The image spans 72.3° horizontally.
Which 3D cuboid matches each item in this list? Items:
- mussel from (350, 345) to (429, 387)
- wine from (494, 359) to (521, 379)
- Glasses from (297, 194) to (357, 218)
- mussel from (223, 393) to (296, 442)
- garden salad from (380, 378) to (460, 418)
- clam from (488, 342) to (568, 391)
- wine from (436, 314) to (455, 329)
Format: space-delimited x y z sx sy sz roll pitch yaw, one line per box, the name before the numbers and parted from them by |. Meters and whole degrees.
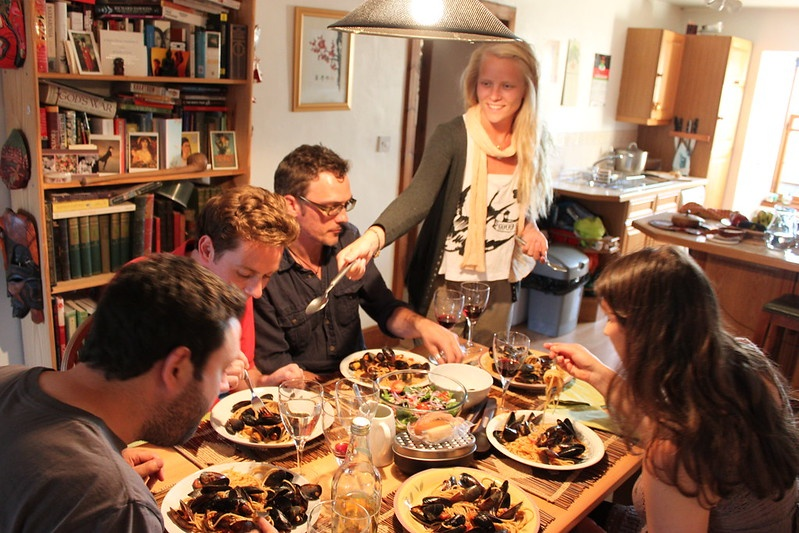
mussel | -0.075 0.347 2.044 0.158 0.035 0.157 4 6 8
wine | 0.392 0.347 1.920 0.087 0.061 0.087 1 -1 5
Glasses | -0.283 -0.261 2.323 0.253 0.083 0.106 -9 16 -37
mussel | -0.448 0.484 1.727 0.140 0.043 0.141 34 21 23
garden salad | 0.072 0.425 1.752 0.198 0.063 0.219 7 14 29
clam | 0.478 0.375 2.023 0.169 0.117 0.279 15 21 42
wine | 0.185 0.211 2.165 0.058 0.072 0.059 -2 21 -1
